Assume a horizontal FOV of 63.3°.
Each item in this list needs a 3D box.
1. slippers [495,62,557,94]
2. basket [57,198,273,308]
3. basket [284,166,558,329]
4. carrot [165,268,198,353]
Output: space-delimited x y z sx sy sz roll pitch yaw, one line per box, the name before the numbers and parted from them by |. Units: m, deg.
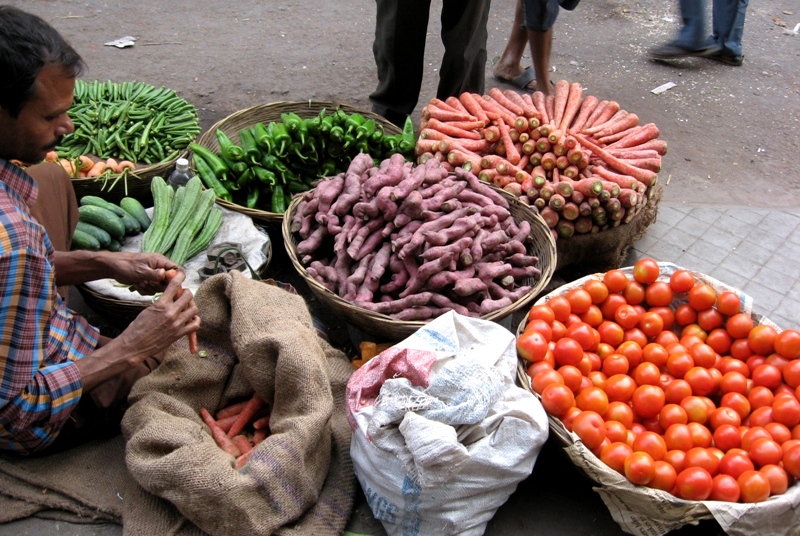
slippers | 1.401 -2.146 7.269 0.760 0.208 0.344 20 53 28
basket | -1.378 -0.111 4.293 1.225 0.699 0.672 0 85 -11
basket | 0.079 -0.100 5.056 1.596 2.500 1.257 0 79 6
carrot | -1.308 0.363 3.950 0.143 0.736 0.121 0 24 6
